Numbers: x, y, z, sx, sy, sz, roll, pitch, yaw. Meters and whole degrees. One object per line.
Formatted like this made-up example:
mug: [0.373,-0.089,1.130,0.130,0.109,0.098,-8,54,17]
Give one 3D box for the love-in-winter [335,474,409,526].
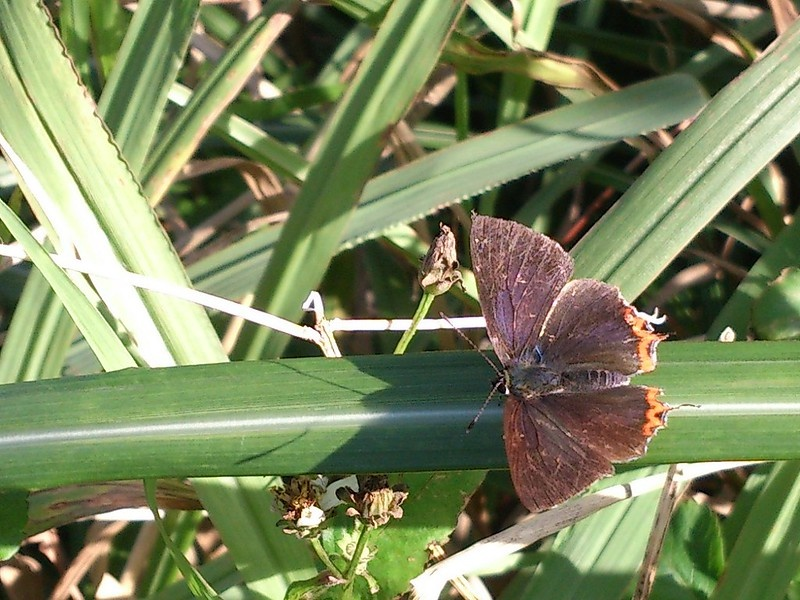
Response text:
love-in-winter: [-0.069,0.466,2.248,0.143,0.142,0.101,-13,9,-10]
